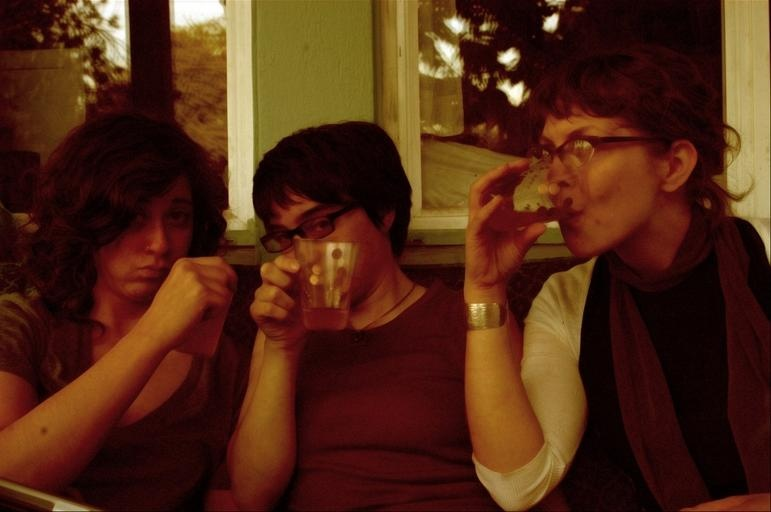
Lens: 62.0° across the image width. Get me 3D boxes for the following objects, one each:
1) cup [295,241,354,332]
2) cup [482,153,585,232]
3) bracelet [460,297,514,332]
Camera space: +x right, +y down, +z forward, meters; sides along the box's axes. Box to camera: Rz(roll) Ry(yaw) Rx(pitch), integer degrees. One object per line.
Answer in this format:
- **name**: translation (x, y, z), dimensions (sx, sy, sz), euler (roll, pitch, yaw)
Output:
- **cup**: translation (-0.124, 0.068, 1.420), dimensions (0.192, 0.228, 0.174), euler (0, -4, 0)
- **cup**: translation (0.342, -0.152, 1.538), dimensions (0.251, 0.109, 0.157), euler (1, 10, -17)
- **bracelet**: translation (0.241, 0.139, 1.522), dimensions (0.096, 0.059, 0.095), euler (-1, -5, 11)
